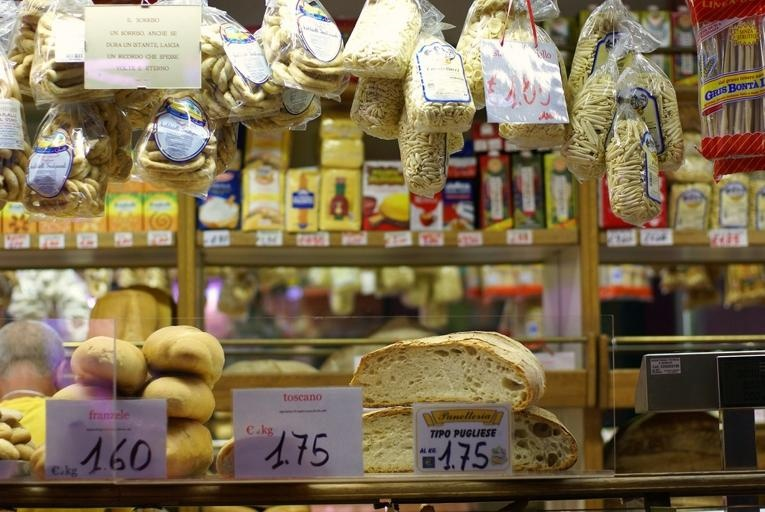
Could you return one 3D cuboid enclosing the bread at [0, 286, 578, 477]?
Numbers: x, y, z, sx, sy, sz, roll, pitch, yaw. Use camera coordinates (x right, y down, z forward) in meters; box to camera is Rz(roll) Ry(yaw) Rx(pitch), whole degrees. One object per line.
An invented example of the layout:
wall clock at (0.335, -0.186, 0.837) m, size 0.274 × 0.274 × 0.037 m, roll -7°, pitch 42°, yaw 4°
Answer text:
bread at (-0.153, 0.365, 2.650) m, size 1.267 × 0.250 × 0.129 m, roll 2°, pitch -1°, yaw 0°
